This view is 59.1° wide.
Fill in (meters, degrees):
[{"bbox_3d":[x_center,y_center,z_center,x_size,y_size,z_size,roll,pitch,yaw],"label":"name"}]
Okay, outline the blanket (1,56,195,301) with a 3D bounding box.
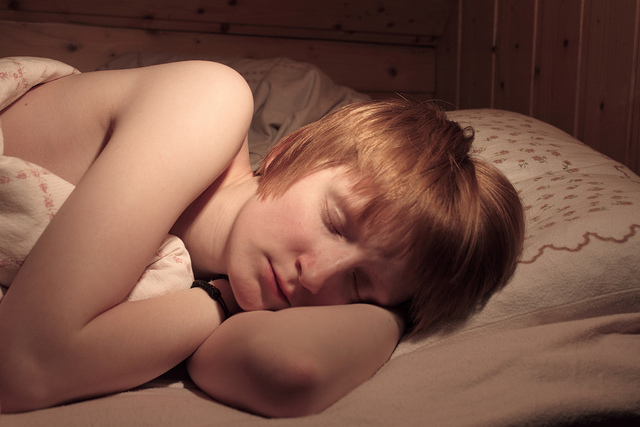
[{"bbox_3d":[-0.583,-0.032,1.285,0.166,0.593,0.449,29,25,33],"label":"blanket"}]
